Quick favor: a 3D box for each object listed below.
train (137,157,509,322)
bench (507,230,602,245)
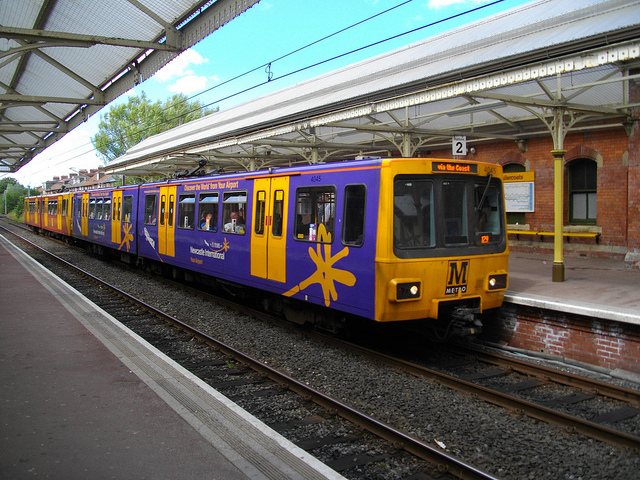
[{"bbox_3d":[-1.706,-0.178,12.581,3.400,3.195,12.616,-2,2,-35],"label":"train"},{"bbox_3d":[8.077,-0.102,15.709,0.455,0.425,3.075,0,2,-32],"label":"bench"}]
